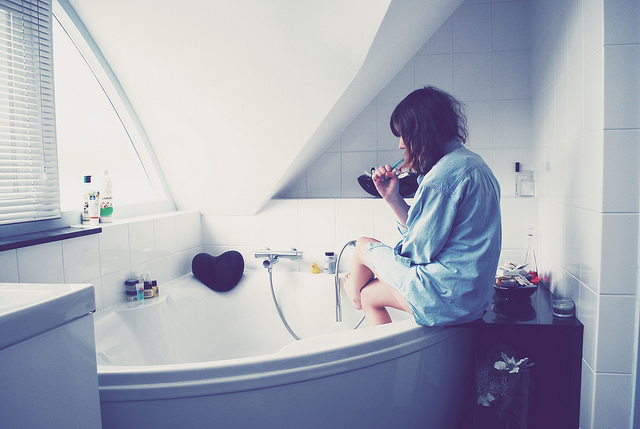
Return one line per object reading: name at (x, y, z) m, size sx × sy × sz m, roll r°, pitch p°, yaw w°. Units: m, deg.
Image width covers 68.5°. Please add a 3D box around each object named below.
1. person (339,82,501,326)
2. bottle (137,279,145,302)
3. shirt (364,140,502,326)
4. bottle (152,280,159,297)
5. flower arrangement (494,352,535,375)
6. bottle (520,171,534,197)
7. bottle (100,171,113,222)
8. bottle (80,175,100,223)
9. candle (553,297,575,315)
person at (0.545, -0.015, 2.498) m, size 0.492 × 1.268 × 0.743 m, roll -5°, pitch 4°, yaw -30°
bottle at (-1.084, 0.459, 2.850) m, size 0.024 × 0.123 × 0.063 m, roll -2°, pitch 4°, yaw 6°
shirt at (0.530, -0.010, 2.529) m, size 0.806 × 1.197 × 0.542 m, roll 0°, pitch -2°, yaw 30°
bottle at (-1.025, 0.458, 2.928) m, size 0.035 × 0.097 × 0.076 m, roll -4°, pitch 4°, yaw -20°
flower arrangement at (0.928, 0.720, 2.266) m, size 0.109 × 0.053 × 0.111 m, roll -4°, pitch -5°, yaw 13°
bottle at (1.434, -0.212, 3.248) m, size 0.085 × 0.164 × 0.075 m, roll -1°, pitch 4°, yaw 22°
bottle at (-1.256, -0.105, 2.748) m, size 0.071 × 0.294 × 0.032 m, roll -4°, pitch 4°, yaw -29°
bottle at (-1.355, -0.089, 2.753) m, size 0.202 × 0.267 × 0.087 m, roll 1°, pitch 5°, yaw 44°
candle at (1.275, 0.479, 2.459) m, size 0.078 × 0.058 × 0.079 m, roll -1°, pitch 2°, yaw -5°
